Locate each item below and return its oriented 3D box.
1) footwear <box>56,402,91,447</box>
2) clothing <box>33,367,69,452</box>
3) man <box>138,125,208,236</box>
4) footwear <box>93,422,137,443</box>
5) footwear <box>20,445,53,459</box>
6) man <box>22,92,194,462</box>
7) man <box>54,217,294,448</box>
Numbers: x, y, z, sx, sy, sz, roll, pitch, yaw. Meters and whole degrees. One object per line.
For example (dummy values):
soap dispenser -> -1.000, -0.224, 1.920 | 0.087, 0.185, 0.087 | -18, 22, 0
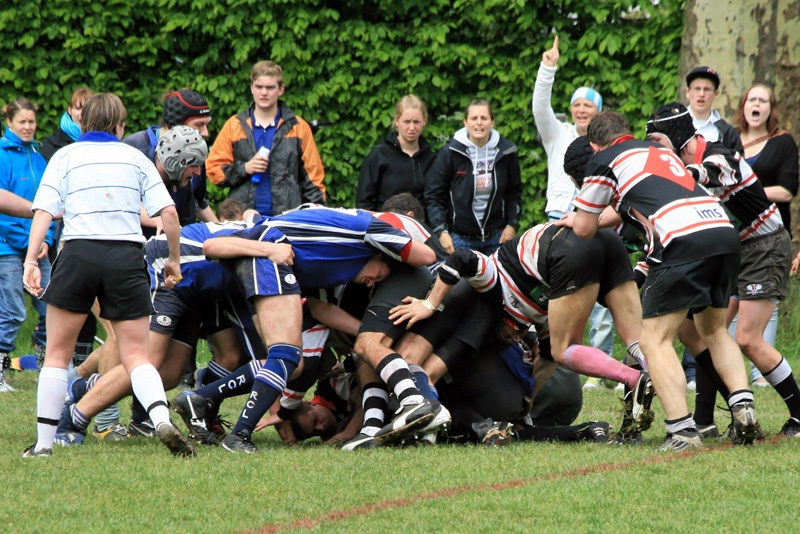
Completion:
footwear -> -2.436, 1.234, 7.622 | 0.324, 0.343, 0.162 | 3, 5, 23
clothing -> -2.467, 1.000, 7.132 | 0.216, 0.583, 0.176 | -2, 5, -23
man -> -1.810, -0.702, 7.960 | 0.469, 0.428, 0.896 | -5, -31, -9
footwear -> -2.279, 1.333, 7.979 | 0.345, 0.161, 0.130 | 1, -2, 2
footwear -> -2.548, 1.318, 7.032 | 0.223, 0.111, 0.088 | 1, -5, 29
man -> -2.085, 0.050, 7.029 | 1.058, 2.549, 0.629 | -1, 5, -15
man -> -1.998, 0.392, 8.147 | 1.935, 2.251, 1.123 | -2, 12, -32
